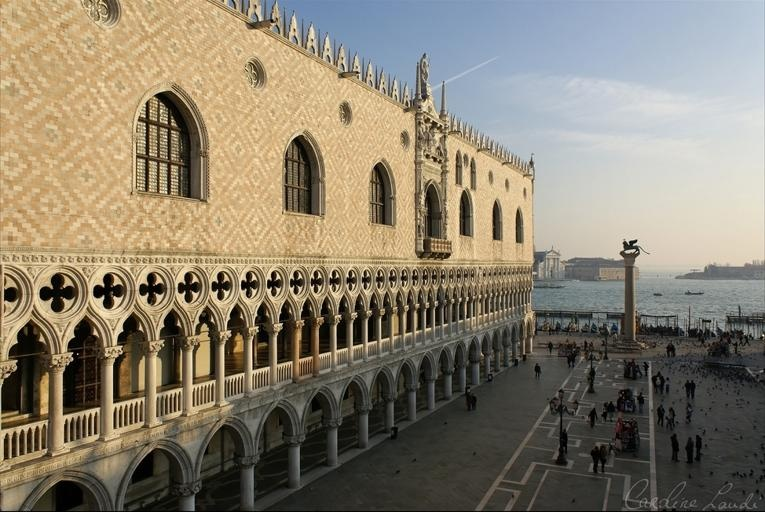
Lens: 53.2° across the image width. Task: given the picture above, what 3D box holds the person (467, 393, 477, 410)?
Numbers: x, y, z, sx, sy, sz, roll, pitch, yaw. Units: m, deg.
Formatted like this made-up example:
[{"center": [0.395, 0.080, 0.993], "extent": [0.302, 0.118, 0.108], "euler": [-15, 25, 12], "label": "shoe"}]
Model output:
[{"center": [4.379, 7.114, 37.428], "extent": [0.477, 0.846, 0.305], "euler": [-2, 4, -20], "label": "person"}]
